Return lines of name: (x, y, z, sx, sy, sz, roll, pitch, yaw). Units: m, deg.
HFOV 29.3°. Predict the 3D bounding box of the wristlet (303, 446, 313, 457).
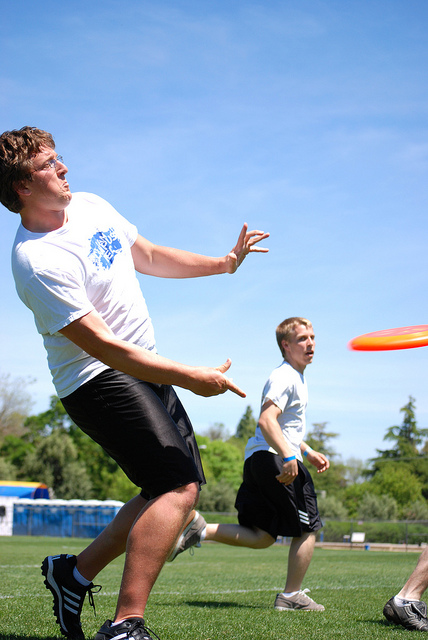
wristlet: (0.671, 0.960, 5.916, 0.058, 0.064, 0.063, -7, -47, 13)
